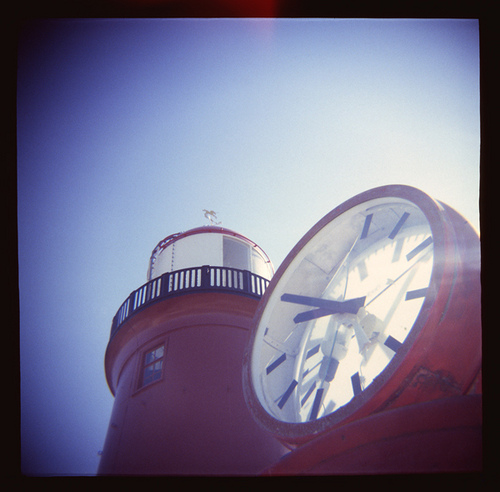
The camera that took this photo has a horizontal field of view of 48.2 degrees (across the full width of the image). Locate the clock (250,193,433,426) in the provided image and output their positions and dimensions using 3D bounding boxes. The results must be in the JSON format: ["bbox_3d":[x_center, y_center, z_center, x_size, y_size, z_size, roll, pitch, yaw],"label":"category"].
[{"bbox_3d":[1.128,0.806,6.640,0.484,2.459,2.229,20,10,-13],"label":"clock"}]
